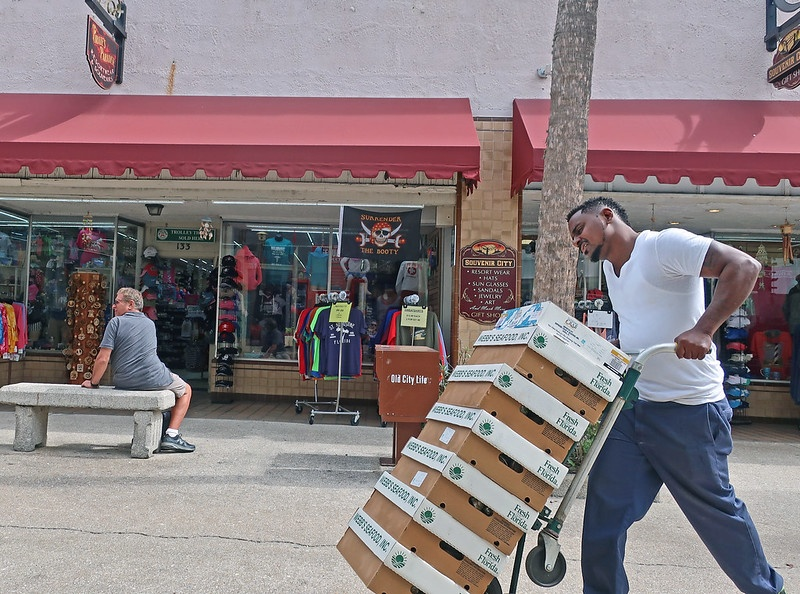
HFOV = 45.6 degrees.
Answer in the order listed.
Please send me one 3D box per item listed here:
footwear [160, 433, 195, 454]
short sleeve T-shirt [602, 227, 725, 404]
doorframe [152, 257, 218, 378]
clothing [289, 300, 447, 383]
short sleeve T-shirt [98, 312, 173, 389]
[{"bbox_3d":[-2.926,1.900,12.414,0.495,0.256,0.196,4,-7,-11],"label":"footwear"},{"bbox_3d":[2.387,0.176,8.650,0.690,1.437,1.435,1,-5,-21],"label":"short sleeve T-shirt"},{"bbox_3d":[-3.990,0.424,17.882,1.111,2.182,1.091,1,-4,-9],"label":"doorframe"},{"bbox_3d":[-0.119,0.688,14.641,2.866,1.511,0.960,0,1,-12],"label":"clothing"},{"bbox_3d":[-3.521,0.645,12.667,1.016,1.200,0.750,2,-14,-45],"label":"short sleeve T-shirt"}]
